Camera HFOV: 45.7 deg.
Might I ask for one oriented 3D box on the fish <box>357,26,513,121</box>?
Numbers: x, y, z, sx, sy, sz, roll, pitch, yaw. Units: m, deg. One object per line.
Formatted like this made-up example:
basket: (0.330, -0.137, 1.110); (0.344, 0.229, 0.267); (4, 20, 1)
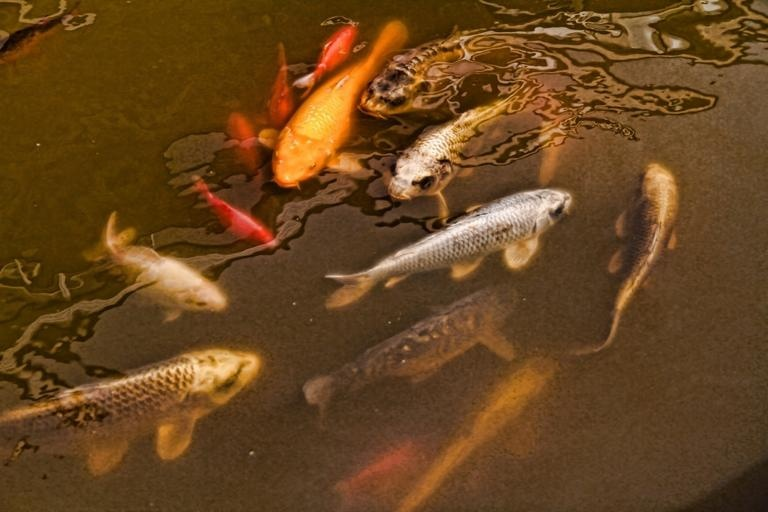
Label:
fish: (0.398, -1.681, 8.531); (0.486, 0.424, 1.395); (24, 51, 35)
